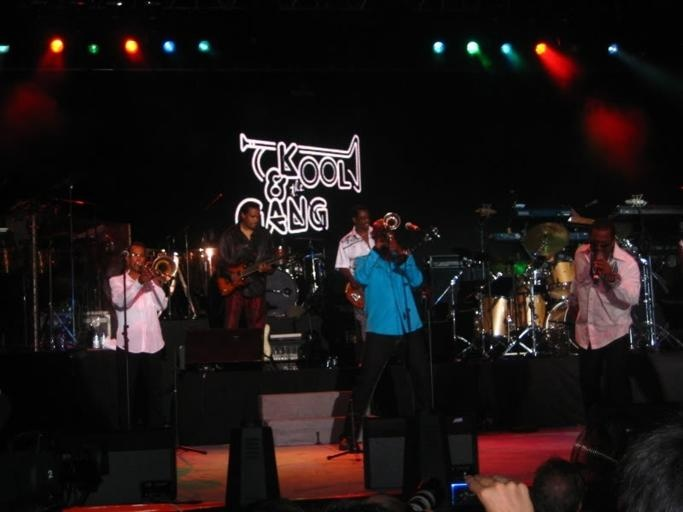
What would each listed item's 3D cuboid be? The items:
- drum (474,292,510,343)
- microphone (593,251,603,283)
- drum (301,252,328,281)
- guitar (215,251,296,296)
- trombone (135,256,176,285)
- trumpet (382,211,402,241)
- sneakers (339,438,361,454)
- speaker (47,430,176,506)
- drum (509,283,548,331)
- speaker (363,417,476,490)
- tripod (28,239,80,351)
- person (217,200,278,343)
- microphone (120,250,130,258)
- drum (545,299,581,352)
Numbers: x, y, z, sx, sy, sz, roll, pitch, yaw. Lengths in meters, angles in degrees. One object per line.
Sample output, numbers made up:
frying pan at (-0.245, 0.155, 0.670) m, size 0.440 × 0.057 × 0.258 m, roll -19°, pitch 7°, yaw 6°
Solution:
drum at (2.141, 0.865, 8.890) m, size 0.564 × 0.578 × 0.560 m, roll 12°, pitch -19°, yaw -36°
microphone at (2.300, 0.097, 5.648) m, size 0.069 × 0.281 × 0.085 m, roll 2°, pitch 8°, yaw 25°
drum at (-0.422, 0.158, 9.577) m, size 0.375 × 0.710 × 0.403 m, roll 1°, pitch -3°, yaw 0°
guitar at (-1.206, 0.218, 8.343) m, size 0.903 × 0.583 × 0.363 m, roll 0°, pitch -7°, yaw -10°
trombone at (-2.074, 0.221, 6.960) m, size 0.407 × 0.259 × 0.424 m, roll -6°, pitch 0°, yaw -33°
trumpet at (0.503, -0.327, 6.239) m, size 0.148 × 0.236 × 0.292 m, roll -3°, pitch -7°, yaw 17°
sneakers at (0.084, 1.862, 6.180) m, size 0.178 × 0.121 × 0.178 m, roll 3°, pitch -17°, yaw -9°
speaker at (-1.588, 1.569, 4.686) m, size 0.867 × 0.602 × 0.477 m, roll -1°, pitch -20°, yaw -4°
drum at (2.723, 0.835, 9.249) m, size 0.524 × 0.544 × 0.537 m, roll 8°, pitch -15°, yaw -29°
speaker at (0.655, 1.550, 5.202) m, size 0.918 × 0.621 × 0.497 m, roll -1°, pitch 11°, yaw 6°
tripod at (-4.062, 0.564, 8.780) m, size 0.590 × 1.409 × 0.576 m, roll -5°, pitch 15°, yaw -4°
person at (-1.323, 0.395, 8.541) m, size 0.671 × 2.123 × 0.591 m, roll 2°, pitch 13°, yaw -12°
microphone at (-2.422, -0.029, 7.017) m, size 0.069 × 0.053 × 0.093 m, roll 5°, pitch -9°, yaw -19°
drum at (3.126, 0.960, 8.724) m, size 0.417 × 0.839 × 0.632 m, roll -2°, pitch 12°, yaw 1°
